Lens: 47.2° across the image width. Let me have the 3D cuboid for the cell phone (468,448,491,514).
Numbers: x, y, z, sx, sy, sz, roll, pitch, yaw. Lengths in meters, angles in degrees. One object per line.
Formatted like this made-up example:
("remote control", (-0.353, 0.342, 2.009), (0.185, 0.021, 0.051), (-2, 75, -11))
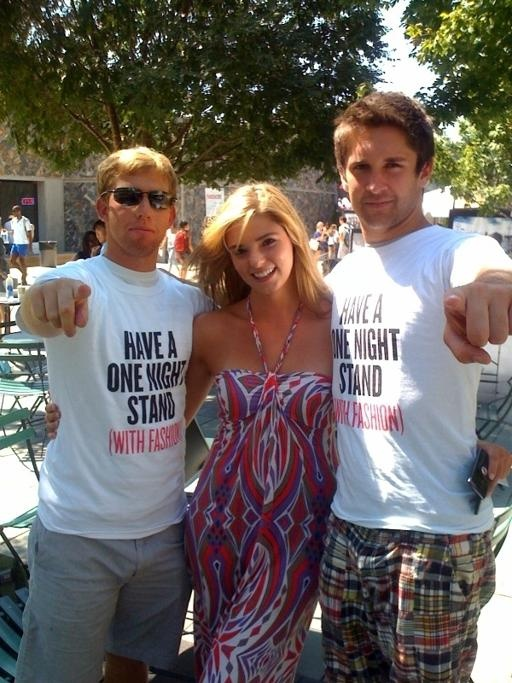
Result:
("cell phone", (0.547, 0.344, 1.434), (0.017, 0.163, 0.091), (-1, -43, 41))
